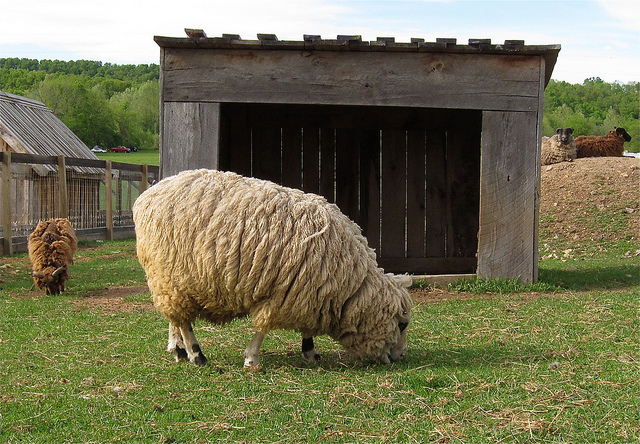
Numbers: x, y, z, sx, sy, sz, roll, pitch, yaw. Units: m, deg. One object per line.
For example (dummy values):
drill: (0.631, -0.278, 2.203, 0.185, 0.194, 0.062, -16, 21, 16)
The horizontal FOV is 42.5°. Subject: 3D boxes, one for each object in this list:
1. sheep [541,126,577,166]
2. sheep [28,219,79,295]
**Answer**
sheep: (7.509, -2.428, 25.865, 1.022, 0.876, 1.638, -6, 4, -5)
sheep: (-4.775, 0.620, 14.972, 0.671, 0.766, 1.536, -1, 32, -14)
